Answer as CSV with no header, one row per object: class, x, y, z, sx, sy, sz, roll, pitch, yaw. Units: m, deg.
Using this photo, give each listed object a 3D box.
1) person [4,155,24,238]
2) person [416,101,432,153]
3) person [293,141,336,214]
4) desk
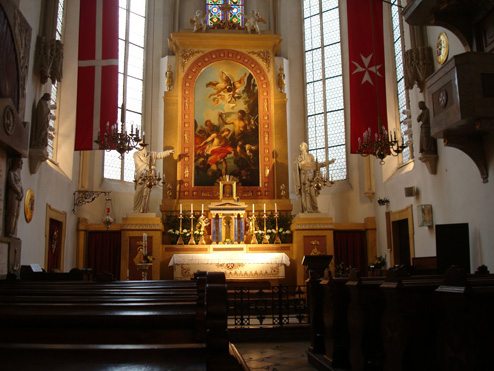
person,-4.419,0.210,9.136,0.261,1.496,0.486,4,-11,-22
person,3.867,-1.264,10.532,0.265,1.254,0.617,-4,-11,19
person,1.802,-0.268,13.593,0.612,2.049,1.312,4,-12,-23
desk,-0.466,2.223,12.655,3.090,0.852,0.750,-1,-12,3
